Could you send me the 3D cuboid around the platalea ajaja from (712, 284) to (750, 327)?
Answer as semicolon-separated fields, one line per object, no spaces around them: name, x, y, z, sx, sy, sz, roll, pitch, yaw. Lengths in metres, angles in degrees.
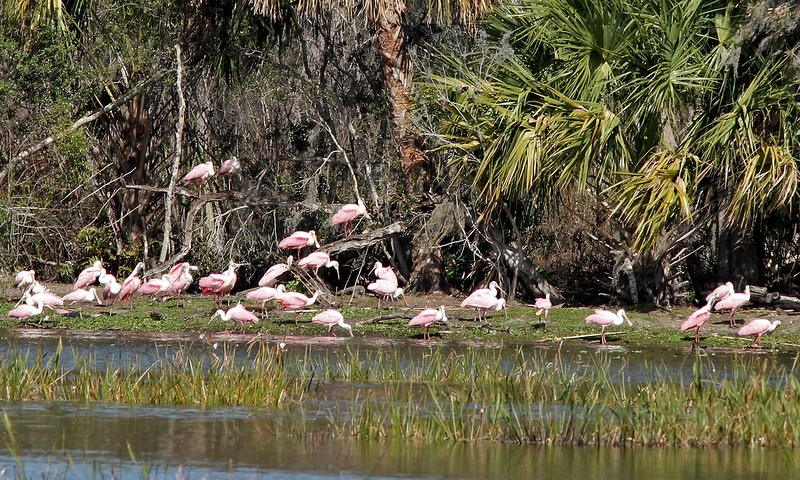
platalea ajaja;7.530;1.471;25.397;0.793;1.100;0.375;5;15;23

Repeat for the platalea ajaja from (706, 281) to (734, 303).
platalea ajaja;7.557;1.239;26.419;0.634;0.446;0.305;-11;24;-23

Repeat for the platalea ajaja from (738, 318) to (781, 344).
platalea ajaja;7.746;1.950;24.294;0.797;0.613;1.248;1;6;17
